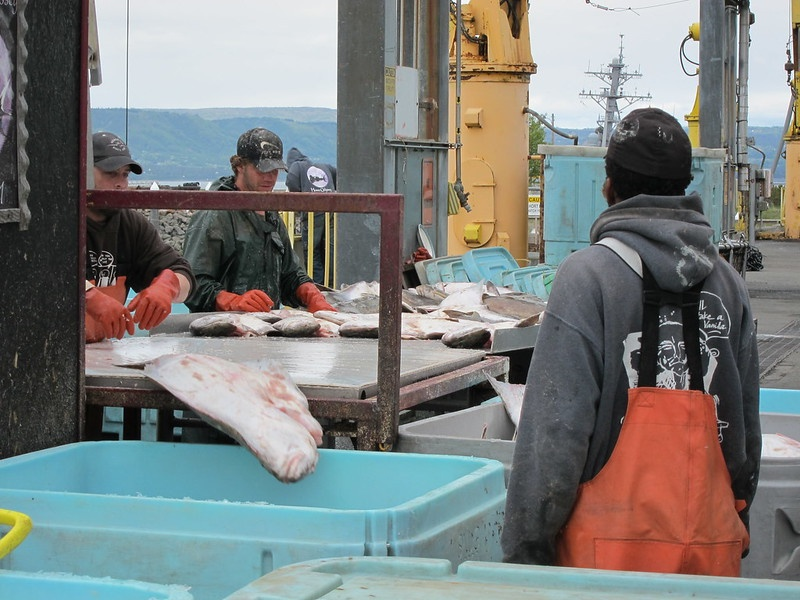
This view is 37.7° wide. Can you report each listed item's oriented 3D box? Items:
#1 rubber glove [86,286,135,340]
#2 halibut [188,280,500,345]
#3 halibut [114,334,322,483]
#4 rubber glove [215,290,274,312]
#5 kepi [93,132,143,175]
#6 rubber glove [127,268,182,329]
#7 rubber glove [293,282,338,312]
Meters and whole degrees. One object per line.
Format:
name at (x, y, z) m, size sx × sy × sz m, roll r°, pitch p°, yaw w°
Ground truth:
rubber glove at (-1.351, 0.042, 5.468) m, size 0.175 × 0.249 × 0.179 m, roll 3°, pitch 8°, yaw -23°
halibut at (-0.358, 0.075, 6.557) m, size 0.729 × 0.204 × 0.497 m, roll -2°, pitch 13°, yaw -45°
halibut at (-0.656, 0.312, 4.426) m, size 1.104 × 0.177 × 0.439 m, roll 26°, pitch 36°, yaw 32°
rubber glove at (-0.921, 0.012, 6.885) m, size 0.210 × 0.083 × 0.163 m, roll 2°, pitch -3°, yaw 2°
kepi at (-1.568, -0.812, 6.506) m, size 0.252 × 0.145 × 0.190 m, roll 10°, pitch 11°, yaw 32°
rubber glove at (-1.203, -0.004, 5.790) m, size 0.218 × 0.305 × 0.196 m, roll 6°, pitch 13°, yaw 41°
rubber glove at (-0.538, 0.001, 7.357) m, size 0.129 × 0.120 × 0.439 m, roll 20°, pitch 7°, yaw -30°
